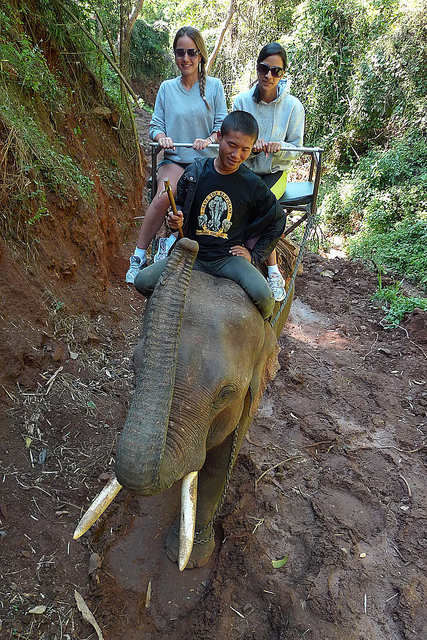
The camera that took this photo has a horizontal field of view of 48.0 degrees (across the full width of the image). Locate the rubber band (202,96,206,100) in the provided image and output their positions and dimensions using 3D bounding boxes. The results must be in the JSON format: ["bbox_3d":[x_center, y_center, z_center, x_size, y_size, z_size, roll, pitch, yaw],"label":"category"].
[{"bbox_3d":[-0.069,-1.654,3.553,0.024,0.030,0.031,1,27,0],"label":"rubber band"}]
